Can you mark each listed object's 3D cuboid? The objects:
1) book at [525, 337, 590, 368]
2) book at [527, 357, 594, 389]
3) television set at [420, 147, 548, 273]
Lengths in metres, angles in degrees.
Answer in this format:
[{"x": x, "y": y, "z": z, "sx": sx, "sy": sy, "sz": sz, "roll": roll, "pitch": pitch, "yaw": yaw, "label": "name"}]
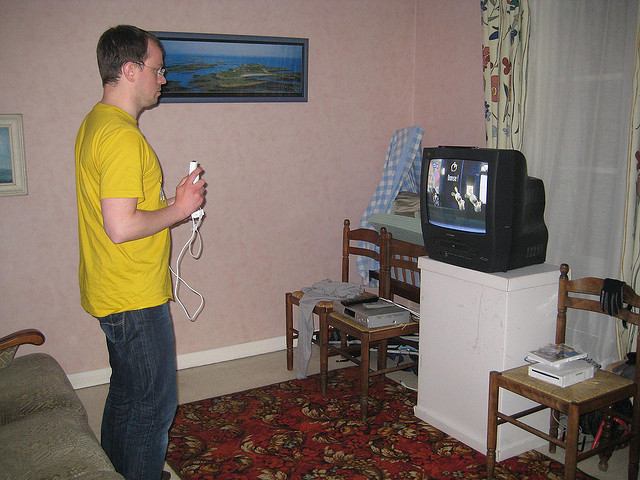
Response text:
[{"x": 1.231, "y": 0.595, "z": 2.698, "sx": 0.221, "sy": 0.052, "sz": 0.209, "roll": -11, "pitch": 6, "yaw": -18, "label": "book"}, {"x": 1.226, "y": 0.659, "z": 2.623, "sx": 0.334, "sy": 0.077, "sz": 0.165, "roll": -4, "pitch": 15, "yaw": -12, "label": "book"}, {"x": 1.002, "y": -0.181, "z": 3.126, "sx": 0.562, "sy": 0.680, "sz": 0.666, "roll": -4, "pitch": 11, "yaw": -22, "label": "television set"}]
